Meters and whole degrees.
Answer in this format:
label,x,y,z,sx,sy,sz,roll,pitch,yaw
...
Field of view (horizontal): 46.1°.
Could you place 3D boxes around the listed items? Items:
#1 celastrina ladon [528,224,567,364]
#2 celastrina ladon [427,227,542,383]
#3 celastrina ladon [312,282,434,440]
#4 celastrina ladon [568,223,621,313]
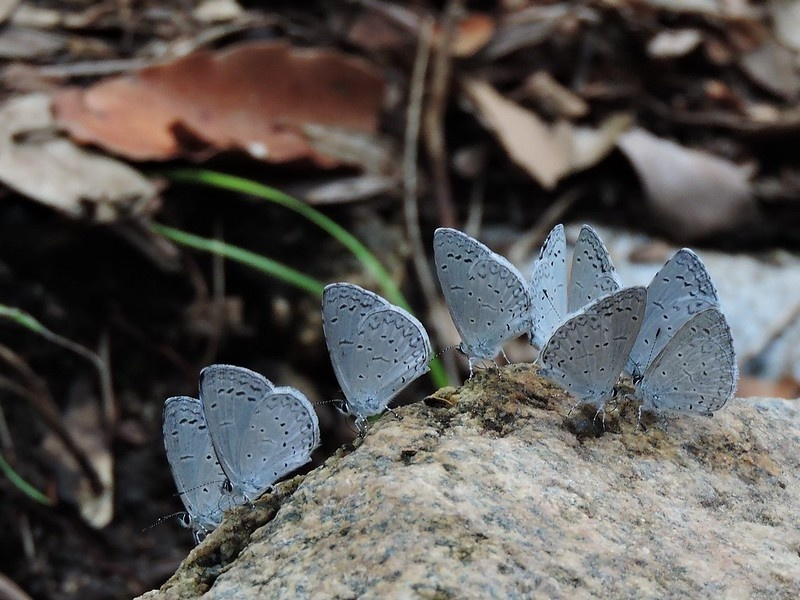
label,x,y,z,sx,sy,sz,roll,pitch,yaw
celastrina ladon,0.507,-0.044,3.239,0.118,0.262,0.373,11,97,-6
celastrina ladon,0.330,0.023,3.406,0.288,0.600,0.530,-1,95,0
celastrina ladon,-0.091,0.141,3.234,0.310,0.340,0.346,-22,60,-13
celastrina ladon,0.672,-0.119,3.294,0.099,0.234,0.285,-7,96,-44
